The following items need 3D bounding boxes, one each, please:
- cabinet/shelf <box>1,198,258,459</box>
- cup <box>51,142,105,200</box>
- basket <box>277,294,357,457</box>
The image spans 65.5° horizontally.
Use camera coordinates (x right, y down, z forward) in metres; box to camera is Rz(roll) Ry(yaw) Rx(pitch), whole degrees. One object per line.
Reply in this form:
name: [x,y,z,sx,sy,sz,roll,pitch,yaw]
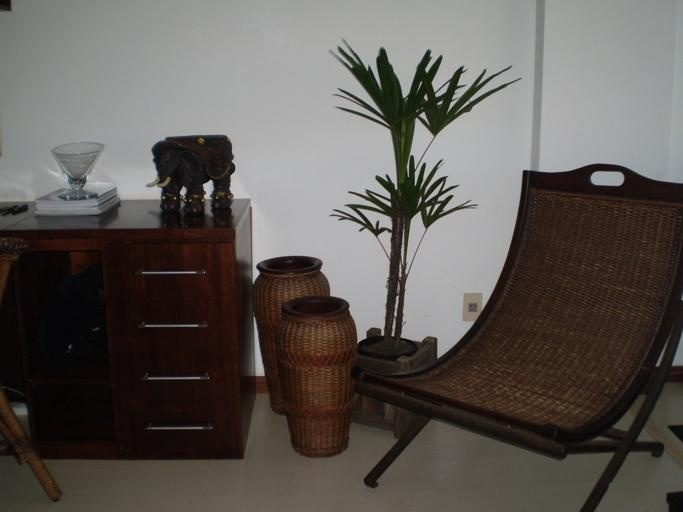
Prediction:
cabinet/shelf: [-0.599,0.315,2.517,1.383,1.444,0.876,0,11,1]
cup: [-1.173,-0.355,2.341,0.225,0.215,0.247,-2,3,0]
basket: [-0.093,0.475,2.180,0.310,0.588,0.320,-2,10,-2]
